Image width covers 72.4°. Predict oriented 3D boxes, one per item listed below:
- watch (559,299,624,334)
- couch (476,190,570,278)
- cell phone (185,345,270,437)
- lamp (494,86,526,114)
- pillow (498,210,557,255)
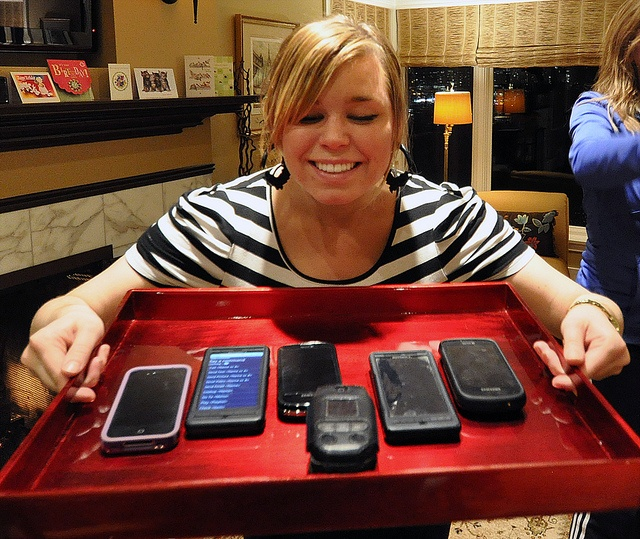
[{"bbox_3d":[0.483,0.079,0.760,0.086,0.033,0.084,-22,30,-38],"label":"watch"},{"bbox_3d":[1.615,-0.303,3.453,0.168,0.380,0.521,10,-2,-37],"label":"couch"},{"bbox_3d":[-0.100,0.146,0.533,0.049,0.106,0.102,1,23,2],"label":"cell phone"},{"bbox_3d":[2.019,-1.799,4.667,0.257,0.195,0.287,2,45,8],"label":"lamp"},{"bbox_3d":[1.183,-0.214,2.441,0.310,0.213,0.099,31,1,40],"label":"pillow"}]
